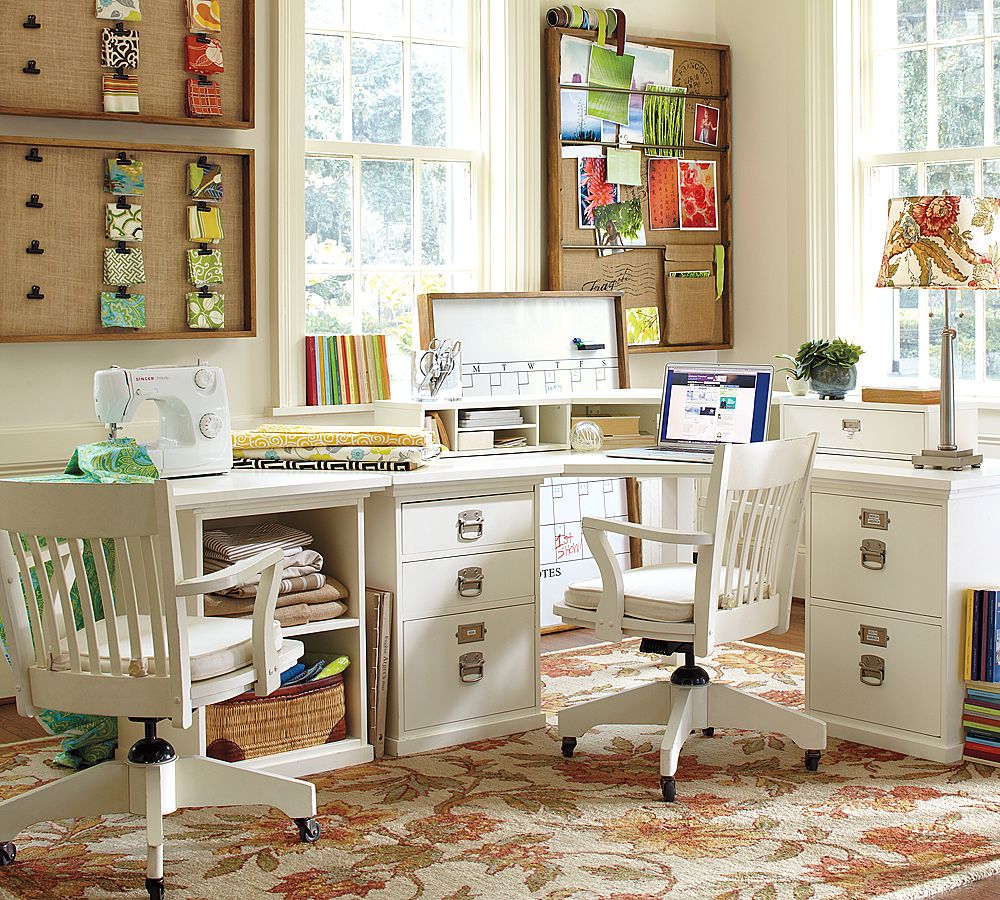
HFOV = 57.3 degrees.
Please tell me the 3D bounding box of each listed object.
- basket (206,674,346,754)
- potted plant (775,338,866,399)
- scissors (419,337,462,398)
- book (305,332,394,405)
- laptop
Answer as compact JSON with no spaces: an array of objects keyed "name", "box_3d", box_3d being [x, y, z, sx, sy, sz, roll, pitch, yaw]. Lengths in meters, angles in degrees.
[{"name":"basket","box_3d":[-0.584,0.645,2.401,0.325,0.133,0.180,-3,3,-40]},{"name":"potted plant","box_3d":[1.134,-0.286,3.214,0.249,0.173,0.238,3,7,40]},{"name":"scissors","box_3d":[-0.236,-0.328,3.468,0.173,0.221,0.080,15,18,-16]},{"name":"book","box_3d":[-0.614,-0.318,3.639,0.328,0.242,0.025,-2,3,-31]},{"name":"laptop","box_3d":[0.612,-0.112,2.806,0.446,0.269,0.350,5,7,38]}]
